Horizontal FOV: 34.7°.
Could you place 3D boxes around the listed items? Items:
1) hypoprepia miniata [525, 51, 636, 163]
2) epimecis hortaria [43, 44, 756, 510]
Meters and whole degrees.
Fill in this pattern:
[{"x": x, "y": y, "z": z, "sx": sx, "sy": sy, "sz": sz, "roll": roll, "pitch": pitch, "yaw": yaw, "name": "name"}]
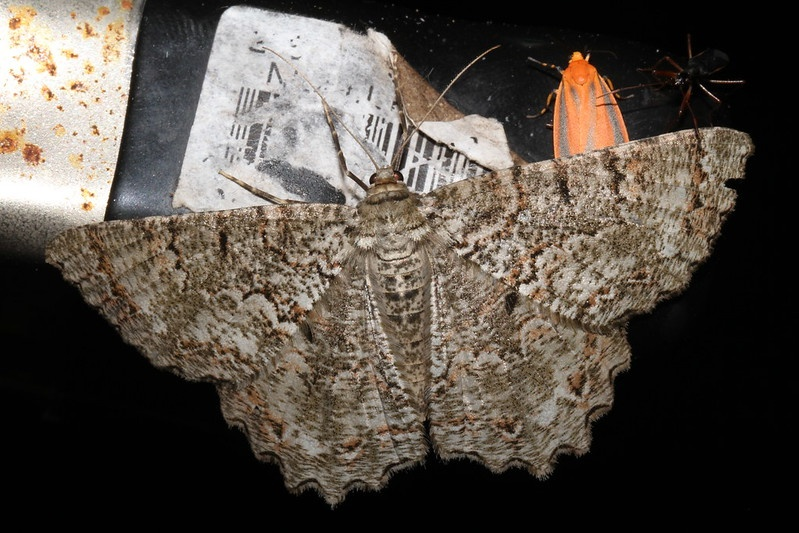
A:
[{"x": 1.246, "y": -1.073, "z": 8.689, "sx": 0.590, "sy": 0.221, "sz": 0.725, "roll": -7, "pitch": 80, "yaw": 3, "name": "hypoprepia miniata"}, {"x": 0.237, "y": -0.086, "z": 9.454, "sx": 3.040, "sy": 4.819, "sz": 3.138, "roll": -1, "pitch": 16, "yaw": 1, "name": "epimecis hortaria"}]
